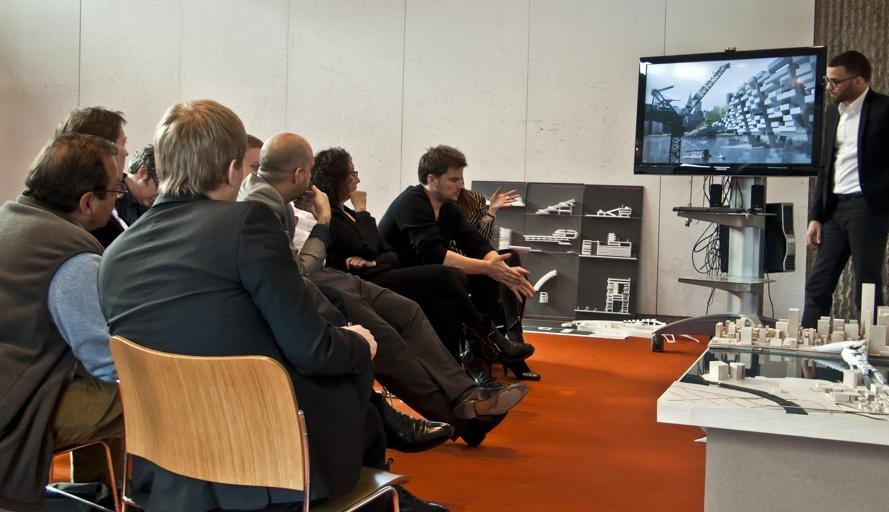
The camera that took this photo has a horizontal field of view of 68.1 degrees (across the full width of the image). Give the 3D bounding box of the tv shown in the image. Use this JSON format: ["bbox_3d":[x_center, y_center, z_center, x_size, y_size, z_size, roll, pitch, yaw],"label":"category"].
[{"bbox_3d":[2.576,-1.280,5.869,1.363,0.929,0.106,2,0,22],"label":"tv"}]

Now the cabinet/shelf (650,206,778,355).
[{"bbox_3d":[2.556,0.151,6.007,1.390,1.540,1.140,0,0,17],"label":"cabinet/shelf"}]

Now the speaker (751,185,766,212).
[{"bbox_3d":[2.744,-0.524,5.777,0.111,0.214,0.162,5,11,23],"label":"speaker"}]

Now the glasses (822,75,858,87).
[{"bbox_3d":[3.067,-1.354,5.056,0.195,0.054,0.187,-4,7,-29],"label":"glasses"}]

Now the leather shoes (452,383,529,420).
[{"bbox_3d":[0.245,0.780,3.688,0.432,0.152,0.213,-9,15,-12],"label":"leather shoes"}]
